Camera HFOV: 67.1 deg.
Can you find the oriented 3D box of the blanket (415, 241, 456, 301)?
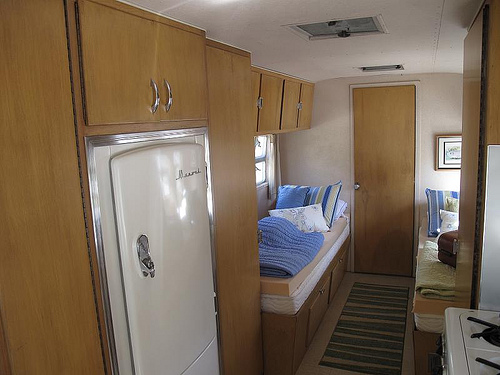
[{"bbox_3d":[1.766,0.725,3.510,0.366,0.097,1.190,2,13,28],"label":"blanket"}]

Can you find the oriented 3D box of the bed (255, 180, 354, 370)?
[{"bbox_3d":[0.576,0.833,4.030,0.892,1.248,2.274,1,9,14],"label":"bed"}]

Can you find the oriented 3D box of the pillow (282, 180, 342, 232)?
[{"bbox_3d":[0.843,0.197,4.972,0.597,0.628,0.530,9,11,33],"label":"pillow"}]

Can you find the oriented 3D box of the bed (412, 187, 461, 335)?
[{"bbox_3d":[1.727,0.642,3.466,0.255,0.425,1.327,7,20,28],"label":"bed"}]

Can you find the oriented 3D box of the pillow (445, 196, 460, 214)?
[{"bbox_3d":[2.364,0.211,4.402,0.065,0.154,0.176,6,10,-2],"label":"pillow"}]

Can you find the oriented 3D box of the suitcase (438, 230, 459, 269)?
[{"bbox_3d":[1.719,0.546,3.258,0.185,0.266,0.350,4,10,18],"label":"suitcase"}]

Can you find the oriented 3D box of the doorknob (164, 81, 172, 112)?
[{"bbox_3d":[-0.411,-0.459,1.886,0.021,0.146,0.054,2,10,20],"label":"doorknob"}]

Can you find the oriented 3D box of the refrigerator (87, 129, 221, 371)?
[{"bbox_3d":[-0.414,0.424,1.913,0.216,1.404,0.796,1,9,17],"label":"refrigerator"}]
